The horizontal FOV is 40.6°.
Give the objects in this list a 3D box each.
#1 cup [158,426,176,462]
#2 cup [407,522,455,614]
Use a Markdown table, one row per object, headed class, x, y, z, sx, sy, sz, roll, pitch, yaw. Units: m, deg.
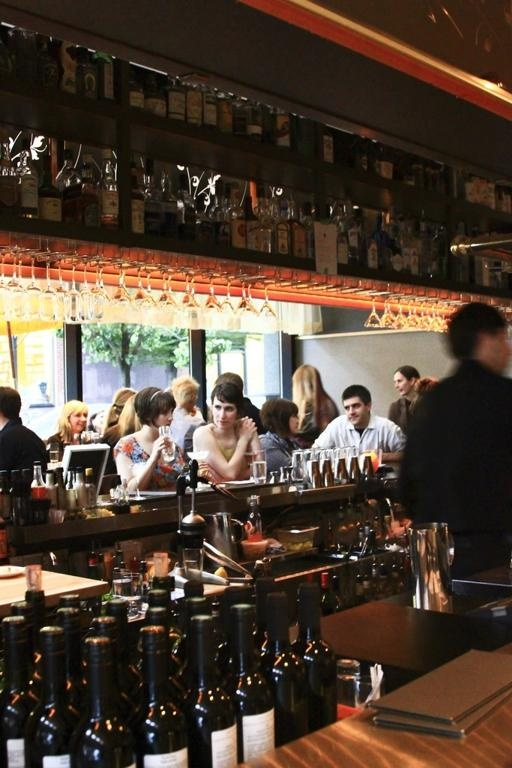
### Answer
| class | x | y | z | sx | sy | sz | roll | pitch | yaw |
| --- | --- | --- | --- | --- | --- | --- | --- | --- | --- |
| cup | -0.560 | 0.387 | 4.387 | 0.105 | 0.230 | 0.332 | -1 | -2 | -8 |
| cup | 0.447 | 0.475 | 1.778 | 0.103 | 0.208 | 0.067 | -1 | -2 | 3 |
